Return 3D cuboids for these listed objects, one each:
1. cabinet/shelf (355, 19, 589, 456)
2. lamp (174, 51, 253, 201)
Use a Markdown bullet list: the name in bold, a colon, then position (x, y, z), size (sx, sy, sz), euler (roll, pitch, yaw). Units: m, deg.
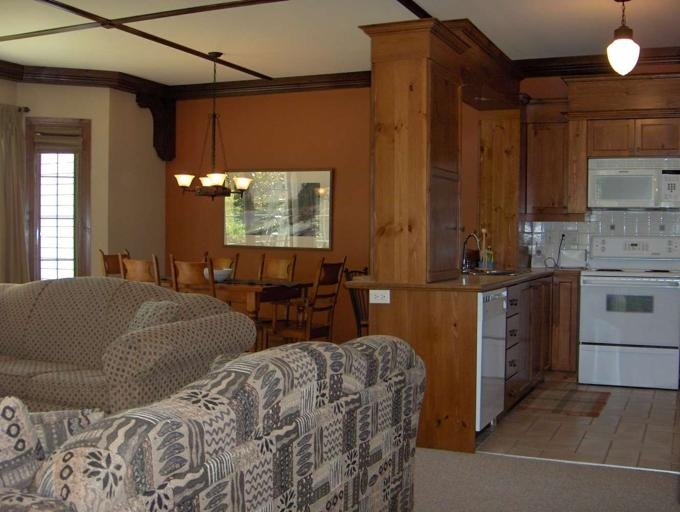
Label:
- **cabinet/shelf**: position (0.955, -0.381, 5.314), size (2.385, 3.301, 3.253), euler (2, 3, 23)
- **lamp**: position (-1.536, -1.496, 6.875), size (0.888, 1.617, 2.146), euler (0, 3, -16)
